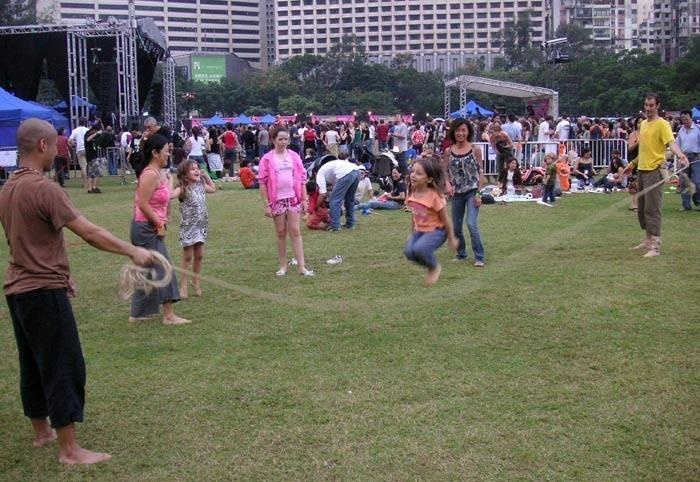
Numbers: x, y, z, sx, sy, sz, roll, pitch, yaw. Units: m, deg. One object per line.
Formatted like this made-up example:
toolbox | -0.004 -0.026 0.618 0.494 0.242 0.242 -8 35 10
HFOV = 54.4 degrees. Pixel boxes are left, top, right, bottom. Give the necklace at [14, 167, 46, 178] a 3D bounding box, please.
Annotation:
necklace | -2.859 -0.614 6.079 0.271 0.101 0.325 -4 9 -27

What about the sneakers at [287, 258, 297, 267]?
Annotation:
sneakers | -0.959 0.356 11.281 0.119 0.084 0.182 -7 -2 -3

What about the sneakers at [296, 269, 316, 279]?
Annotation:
sneakers | -0.701 0.513 10.507 0.311 0.141 0.107 -6 2 30

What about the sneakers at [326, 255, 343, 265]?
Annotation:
sneakers | -0.268 0.320 11.153 0.290 0.138 0.110 1 14 -6

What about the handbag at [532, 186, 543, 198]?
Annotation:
handbag | 4.882 -1.322 17.899 0.261 0.272 0.253 21 12 4

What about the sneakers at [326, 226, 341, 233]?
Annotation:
sneakers | -0.330 -0.243 13.844 0.220 0.111 0.109 -4 8 -10

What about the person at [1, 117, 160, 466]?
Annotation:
person | -2.606 0.430 6.058 1.058 3.014 0.523 3 8 19
